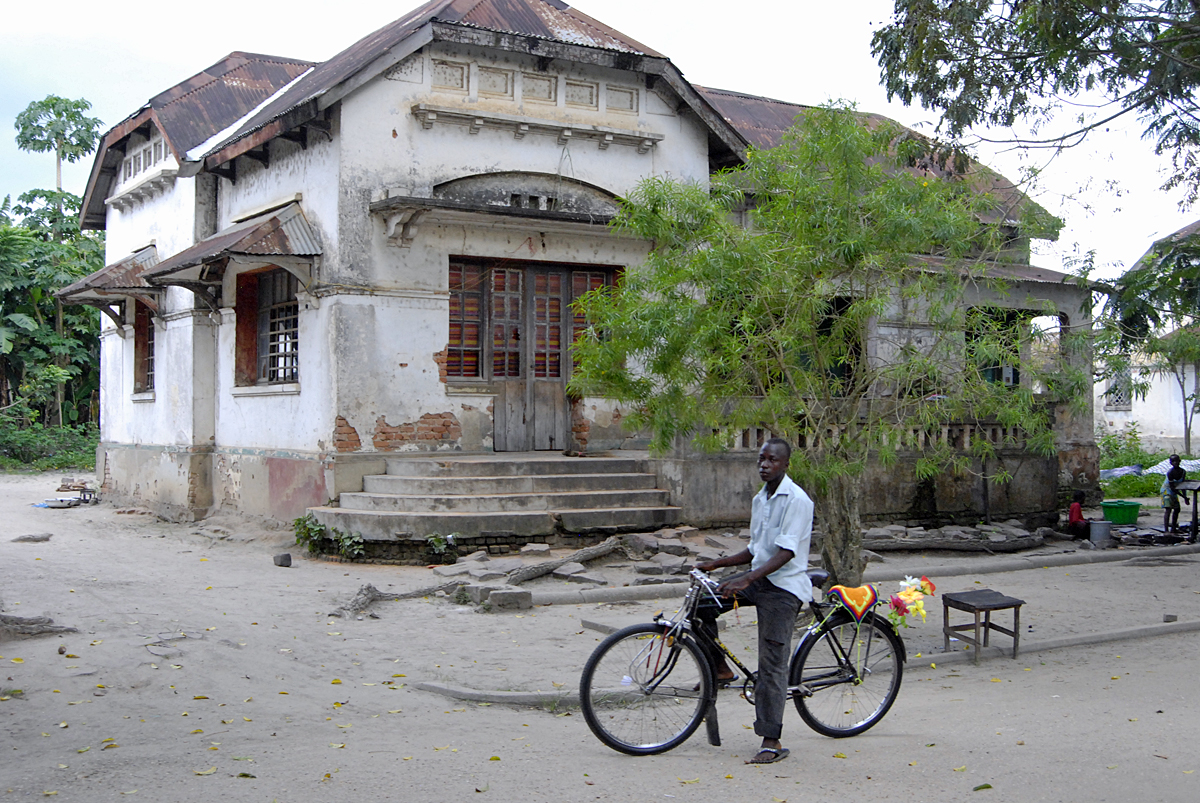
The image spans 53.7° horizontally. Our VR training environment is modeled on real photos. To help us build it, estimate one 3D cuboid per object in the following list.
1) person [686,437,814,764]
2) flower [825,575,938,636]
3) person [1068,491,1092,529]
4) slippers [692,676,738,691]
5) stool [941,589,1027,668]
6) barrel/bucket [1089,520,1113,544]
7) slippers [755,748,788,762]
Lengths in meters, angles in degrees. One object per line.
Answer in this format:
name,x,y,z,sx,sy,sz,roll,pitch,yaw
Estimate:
person,1.667,1.939,11.727,0.845,3.076,0.953,2,8,11
flower,3.193,2.332,13.375,1.105,0.621,0.967,7,-5,-4
person,9.250,2.097,22.829,0.470,0.780,0.505,-6,7,-40
slippers,1.124,2.790,11.796,0.492,0.181,0.163,1,-1,-11
stool,4.674,2.827,14.566,0.937,0.921,0.929,-2,3,-25
barrel/bucket,8.977,2.331,21.068,0.421,0.431,0.426,0,-6,0
slippers,1.674,3.431,11.499,0.336,0.104,0.133,-3,7,-33
